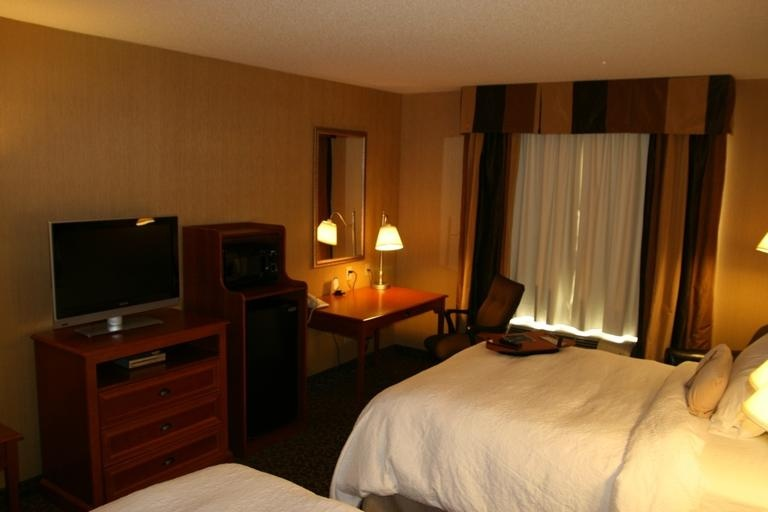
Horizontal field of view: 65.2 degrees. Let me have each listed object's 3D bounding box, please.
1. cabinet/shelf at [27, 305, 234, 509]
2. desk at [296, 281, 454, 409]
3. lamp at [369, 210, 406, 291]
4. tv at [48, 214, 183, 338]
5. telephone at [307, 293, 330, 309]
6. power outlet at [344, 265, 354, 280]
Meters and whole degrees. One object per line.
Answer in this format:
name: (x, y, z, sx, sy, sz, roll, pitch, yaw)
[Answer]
cabinet/shelf: (-1.927, 1.002, 5.156, 1.186, 1.756, 1.746, 4, 8, 35)
desk: (-0.162, 0.884, 6.590, 1.027, 0.859, 1.715, 6, 9, 34)
lamp: (0.026, -0.085, 6.916, 0.304, 0.866, 0.888, -1, 10, -1)
tv: (-2.123, 0.143, 4.653, 0.230, 0.792, 0.897, 1, 6, 38)
telephone: (-0.685, 0.441, 5.928, 0.180, 0.067, 0.141, 20, 17, 39)
power outlet: (-0.410, 0.174, 6.783, 0.078, 0.162, 0.158, 1, 3, 25)
